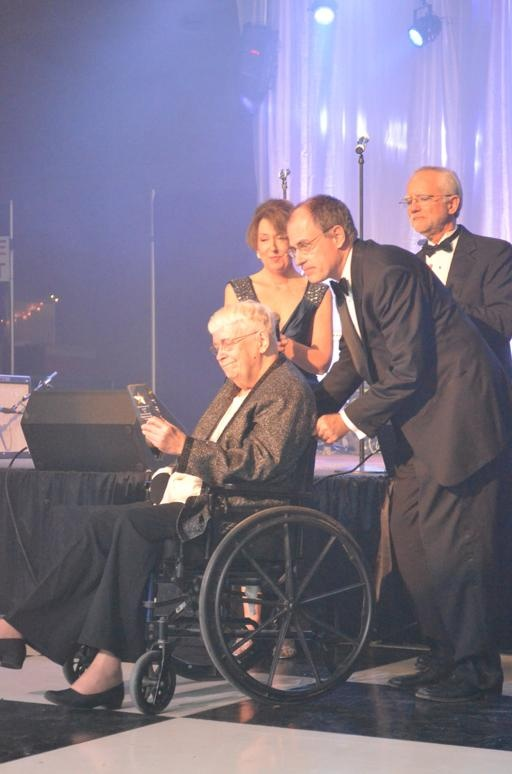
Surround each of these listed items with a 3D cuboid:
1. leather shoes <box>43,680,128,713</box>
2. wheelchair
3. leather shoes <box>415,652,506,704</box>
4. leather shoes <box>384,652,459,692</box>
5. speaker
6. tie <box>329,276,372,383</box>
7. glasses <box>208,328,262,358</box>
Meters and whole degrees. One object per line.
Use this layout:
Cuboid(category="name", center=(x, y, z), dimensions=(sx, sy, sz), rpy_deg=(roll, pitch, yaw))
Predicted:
Cuboid(category="leather shoes", center=(-0.476, 0.861, 2.991), dimensions=(0.211, 0.075, 0.081), rpy_deg=(10, -19, -18))
Cuboid(category="wheelchair", center=(-0.114, 0.489, 3.155), dimensions=(0.857, 0.752, 0.626), rpy_deg=(4, -2, -34))
Cuboid(category="leather shoes", center=(0.606, 0.876, 3.215), dimensions=(0.274, 0.174, 0.111), rpy_deg=(2, -8, -4))
Cuboid(category="leather shoes", center=(0.490, 0.868, 3.310), dimensions=(0.237, 0.098, 0.080), rpy_deg=(2, -2, -14))
Cuboid(category="speaker", center=(-0.608, 0.162, 3.822), dimensions=(0.432, 0.266, 0.334), rpy_deg=(0, 6, 13))
Cuboid(category="tie", center=(0.282, -0.168, 3.287), dimensions=(0.099, 0.343, 0.060), rpy_deg=(-19, 0, 19))
Cuboid(category="glasses", center=(-0.074, -0.127, 3.122), dimensions=(0.086, 0.025, 0.081), rpy_deg=(-13, -3, -37))
